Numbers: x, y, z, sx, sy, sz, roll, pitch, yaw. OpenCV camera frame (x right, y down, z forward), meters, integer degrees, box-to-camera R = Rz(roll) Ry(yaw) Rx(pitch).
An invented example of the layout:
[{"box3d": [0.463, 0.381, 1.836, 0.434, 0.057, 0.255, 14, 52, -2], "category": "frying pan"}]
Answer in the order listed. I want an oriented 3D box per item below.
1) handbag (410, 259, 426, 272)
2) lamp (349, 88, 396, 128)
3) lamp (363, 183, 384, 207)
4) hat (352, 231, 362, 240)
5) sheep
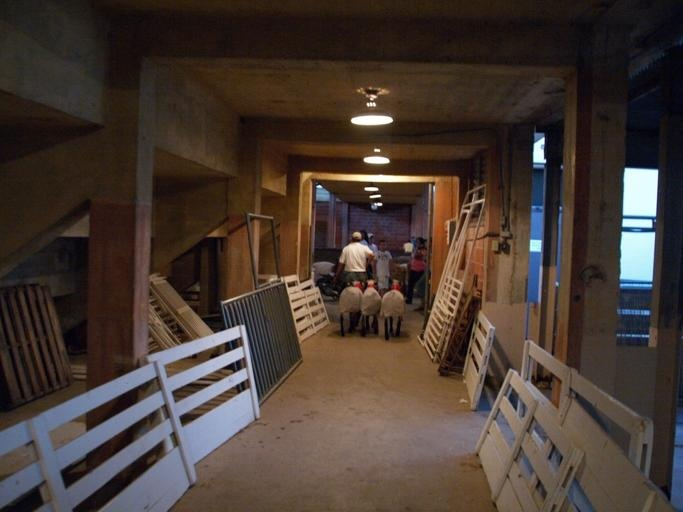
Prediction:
[{"box3d": [1.808, 0.197, 12.150, 0.313, 0.345, 0.309, 0, 8, 0], "category": "handbag"}, {"box3d": [0.371, -1.857, 6.357, 0.607, 0.480, 0.627, 8, 26, 23], "category": "lamp"}, {"box3d": [0.956, -1.843, 15.485, 0.664, 0.774, 0.673, -3, -13, 22], "category": "lamp"}, {"box3d": [0.278, -0.373, 9.634, 0.192, 0.119, 0.293, 0, 2, 1], "category": "hat"}, {"box3d": [0.541, 0.911, 8.951, 0.823, 0.896, 1.136, 1, 5, 5], "category": "sheep"}]
